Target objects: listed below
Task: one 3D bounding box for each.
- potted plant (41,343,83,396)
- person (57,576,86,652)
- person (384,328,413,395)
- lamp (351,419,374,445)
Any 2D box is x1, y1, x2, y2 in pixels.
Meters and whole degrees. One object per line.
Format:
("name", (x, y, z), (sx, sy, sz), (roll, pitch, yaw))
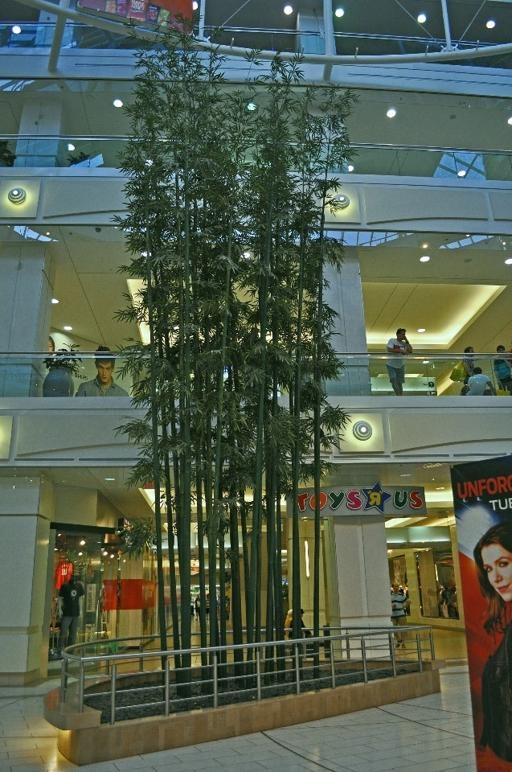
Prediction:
("potted plant", (-3.160, -0.208, 8.714), (0.505, 0.972, 0.538), (8, -13, -29))
("person", (-3.315, 3.995, 9.655), (0.315, 1.175, 0.771), (1, -17, -8))
("person", (2.495, -0.409, 9.423), (0.501, 1.241, 0.401), (-2, -17, 4))
("lamp", (1.733, 0.703, 8.736), (0.320, 0.325, 0.078), (-5, -6, -10))
